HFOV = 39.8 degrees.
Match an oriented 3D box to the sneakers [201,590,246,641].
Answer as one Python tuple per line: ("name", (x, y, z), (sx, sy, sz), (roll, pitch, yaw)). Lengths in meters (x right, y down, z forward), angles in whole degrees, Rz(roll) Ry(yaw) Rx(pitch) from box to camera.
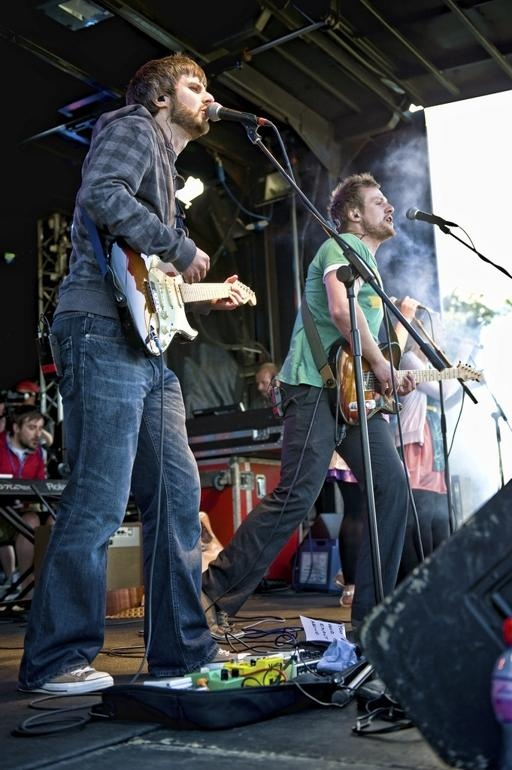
("sneakers", (-0.139, 0.818, 2.525), (0.115, 0.126, 0.316), (3, -10, -22))

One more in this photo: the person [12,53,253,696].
("person", (-0.305, -0.125, 1.865), (0.475, 1.705, 0.451), (8, -18, -40))

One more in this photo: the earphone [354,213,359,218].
("earphone", (0.392, -0.665, 2.780), (0.016, 0.020, 0.005), (3, -5, 8))

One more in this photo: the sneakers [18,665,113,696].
("sneakers", (-0.428, 0.676, 1.613), (0.206, 0.054, 0.136), (0, -14, -15))
